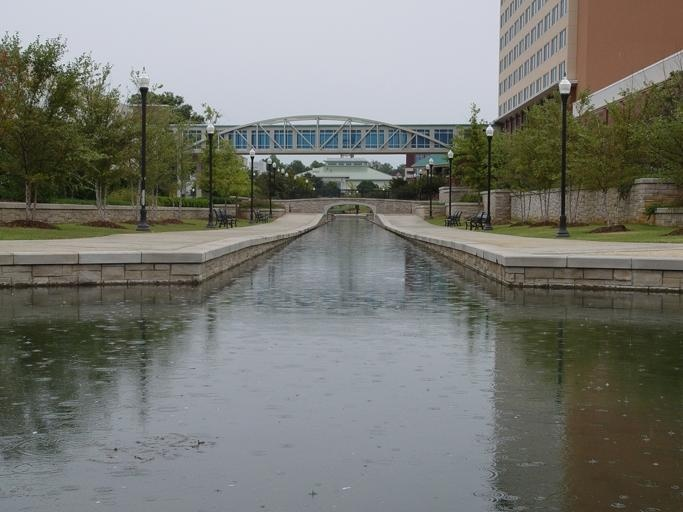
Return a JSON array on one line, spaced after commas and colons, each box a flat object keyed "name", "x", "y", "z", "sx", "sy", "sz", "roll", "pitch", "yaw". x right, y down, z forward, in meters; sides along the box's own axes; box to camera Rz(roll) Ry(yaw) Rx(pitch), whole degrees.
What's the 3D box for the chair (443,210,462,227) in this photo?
[{"name": "chair", "x": 8.773, "y": -2.811, "z": 58.762, "sx": 1.704, "sy": 1.529, "sz": 1.299, "roll": 1, "pitch": -3, "yaw": -33}]
